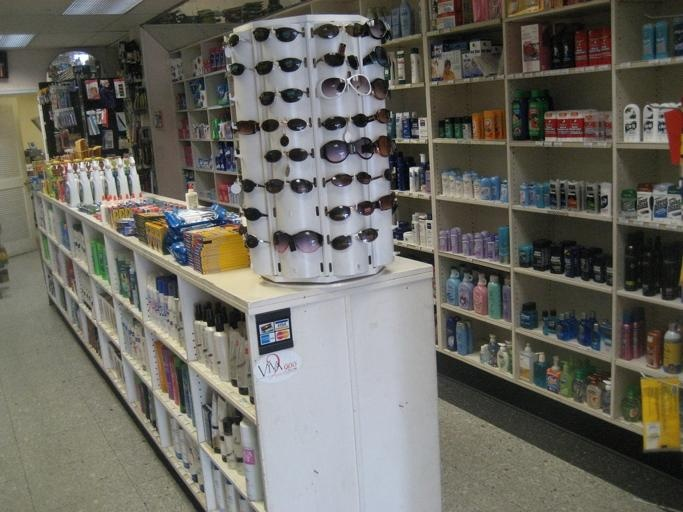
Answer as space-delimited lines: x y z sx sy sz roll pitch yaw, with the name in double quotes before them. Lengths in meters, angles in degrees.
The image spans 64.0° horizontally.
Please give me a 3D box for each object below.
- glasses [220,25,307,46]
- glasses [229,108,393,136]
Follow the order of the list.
"glasses" -0.332 -0.906 2.263 0.362 0.070 0.075 0 12 17
"glasses" -0.123 -0.570 2.348 0.681 0.077 0.194 -5 12 -8
